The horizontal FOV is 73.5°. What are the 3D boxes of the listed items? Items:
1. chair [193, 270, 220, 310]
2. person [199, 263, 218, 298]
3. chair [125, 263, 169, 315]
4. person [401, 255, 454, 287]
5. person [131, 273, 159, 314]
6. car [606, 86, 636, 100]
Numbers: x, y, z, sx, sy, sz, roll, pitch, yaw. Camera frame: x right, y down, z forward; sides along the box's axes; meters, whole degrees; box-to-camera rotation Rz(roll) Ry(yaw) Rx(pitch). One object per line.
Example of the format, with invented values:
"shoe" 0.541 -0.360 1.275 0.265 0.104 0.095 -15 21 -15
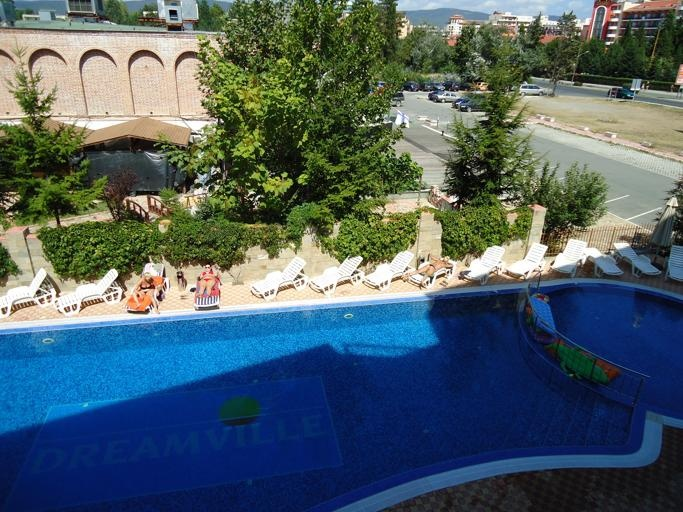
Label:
"chair" -4.940 1.170 16.847 0.933 0.506 1.716 -7 46 -8
"person" -4.969 0.972 16.933 0.909 0.471 1.550 4 30 -17
"chair" -7.028 1.232 16.738 1.245 0.925 2.000 13 52 -8
"person" 3.700 0.752 18.586 2.013 0.583 1.072 -28 45 -18
"person" -6.916 1.411 16.430 0.995 1.312 1.473 6 50 -31
"car" 42.620 -24.966 70.016 2.343 1.575 3.347 -5 25 -11
